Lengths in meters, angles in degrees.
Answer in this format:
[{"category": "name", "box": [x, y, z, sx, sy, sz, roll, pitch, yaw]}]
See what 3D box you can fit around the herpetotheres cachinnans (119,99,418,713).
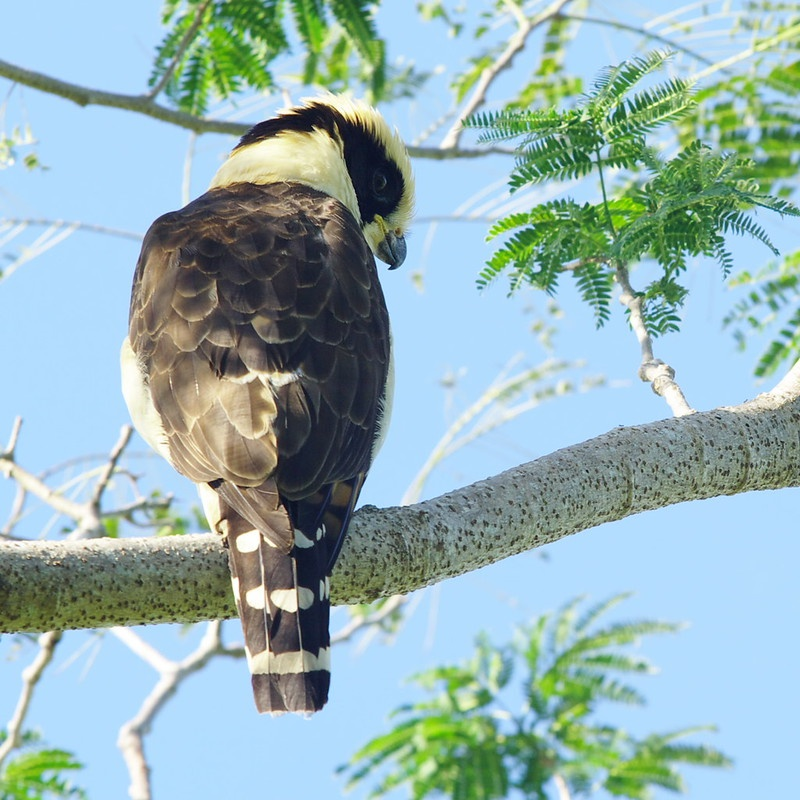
[{"category": "herpetotheres cachinnans", "box": [-0.525, -0.082, 6.033, 0.846, 2.195, 2.095, 7, -8, -10]}]
